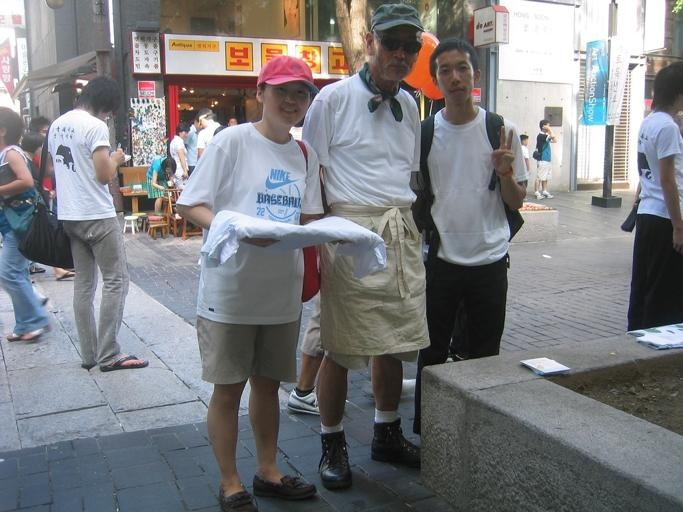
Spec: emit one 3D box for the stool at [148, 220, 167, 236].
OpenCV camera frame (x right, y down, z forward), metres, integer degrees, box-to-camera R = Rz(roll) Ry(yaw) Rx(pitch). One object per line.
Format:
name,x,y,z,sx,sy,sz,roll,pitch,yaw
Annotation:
stool,-3.892,-0.580,11.554,0.368,0.329,0.421,-4,10,-21

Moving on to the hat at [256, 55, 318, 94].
hat,-0.276,-0.876,2.715,0.178,0.141,0.239,-4,6,-36

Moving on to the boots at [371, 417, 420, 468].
boots,0.371,1.156,3.362,0.398,0.298,0.158,2,-2,6

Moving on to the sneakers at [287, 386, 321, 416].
sneakers,-0.237,1.054,3.953,0.343,0.160,0.125,11,-3,-10

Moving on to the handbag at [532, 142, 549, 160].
handbag,6.394,-3.397,17.492,0.387,0.777,0.768,-4,-7,14

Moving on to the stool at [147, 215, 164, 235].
stool,-3.922,-0.645,11.481,0.396,0.426,0.575,-1,11,-24

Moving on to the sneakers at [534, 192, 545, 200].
sneakers,6.261,-1.878,17.213,0.169,0.219,0.444,-8,6,-24

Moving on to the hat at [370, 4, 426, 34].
hat,0.304,-1.323,3.023,0.279,0.195,0.265,1,10,5

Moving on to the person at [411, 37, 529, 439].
person,0.757,0.030,3.418,0.709,2.529,0.715,0,10,17

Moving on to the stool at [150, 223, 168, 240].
stool,-3.922,-0.524,11.644,0.332,0.270,0.351,0,9,12
